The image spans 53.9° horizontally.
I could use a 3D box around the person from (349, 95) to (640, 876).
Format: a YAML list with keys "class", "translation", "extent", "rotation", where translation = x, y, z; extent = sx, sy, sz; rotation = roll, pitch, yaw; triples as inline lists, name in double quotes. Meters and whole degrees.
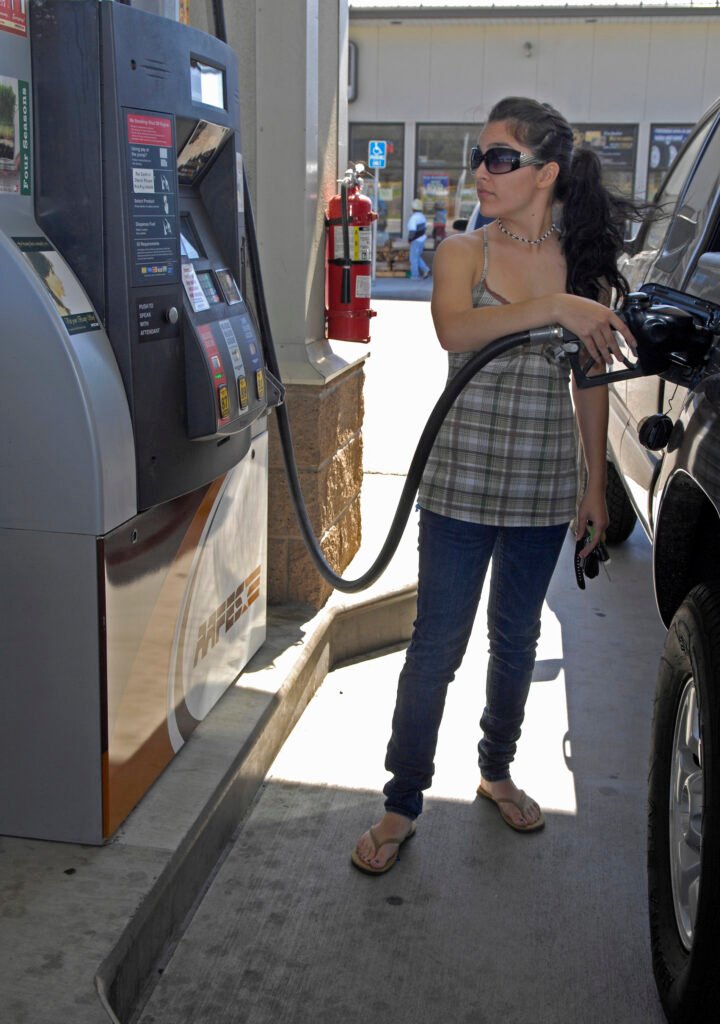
- class: "person"
  translation: [0.299, -0.036, 1.587]
  extent: [0.603, 1.694, 0.456]
  rotation: [-2, 11, -14]

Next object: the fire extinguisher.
- class: "fire extinguisher"
  translation: [-0.032, -1.114, 3.121]
  extent: [0.195, 0.801, 0.202]
  rotation: [4, 18, 12]

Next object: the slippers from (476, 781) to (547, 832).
- class: "slippers"
  translation: [0.431, 0.812, 2.007]
  extent: [0.085, 0.052, 0.176]
  rotation: [-14, 13, -27]
